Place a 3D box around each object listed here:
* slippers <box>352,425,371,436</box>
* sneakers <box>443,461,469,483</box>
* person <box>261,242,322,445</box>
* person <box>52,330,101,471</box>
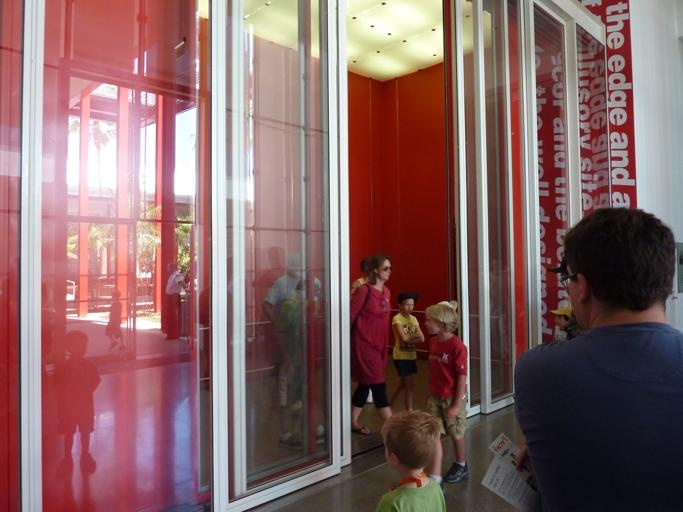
[{"bbox_3d":[0.188,1.541,5.286,0.148,0.041,0.066,-1,1,31],"label":"slippers"},{"bbox_3d":[0.840,1.586,4.391,0.240,0.131,0.086,7,-10,-43],"label":"sneakers"},{"bbox_3d":[-0.325,0.666,4.222,0.150,1.345,0.525,-7,-4,36],"label":"person"},{"bbox_3d":[-1.451,0.813,3.280,0.227,0.797,0.083,-2,-4,-32],"label":"person"}]
